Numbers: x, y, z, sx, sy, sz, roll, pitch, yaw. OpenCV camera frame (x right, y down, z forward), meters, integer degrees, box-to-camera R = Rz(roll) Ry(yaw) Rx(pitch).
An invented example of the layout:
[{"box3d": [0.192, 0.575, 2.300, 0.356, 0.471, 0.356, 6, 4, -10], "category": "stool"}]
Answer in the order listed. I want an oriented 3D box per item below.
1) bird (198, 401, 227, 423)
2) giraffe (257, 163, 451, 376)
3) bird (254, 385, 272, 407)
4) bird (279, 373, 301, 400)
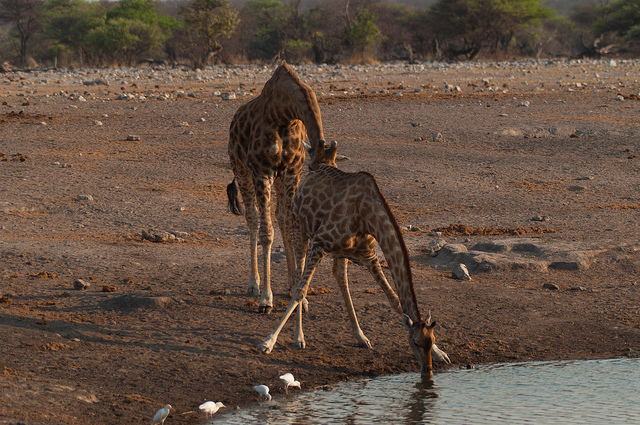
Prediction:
[{"box3d": [-1.636, 3.008, 15.857, 0.423, 0.264, 0.213, -16, 33, -21], "category": "bird"}, {"box3d": [0.488, 0.714, 16.544, 1.676, 2.311, 2.803, -26, 37, -31], "category": "giraffe"}, {"box3d": [-0.872, 2.834, 16.090, 0.250, 0.264, 0.302, -8, 31, -6], "category": "bird"}, {"box3d": [-0.451, 2.697, 16.253, 0.304, 0.293, 0.472, -9, 30, -8], "category": "bird"}]
